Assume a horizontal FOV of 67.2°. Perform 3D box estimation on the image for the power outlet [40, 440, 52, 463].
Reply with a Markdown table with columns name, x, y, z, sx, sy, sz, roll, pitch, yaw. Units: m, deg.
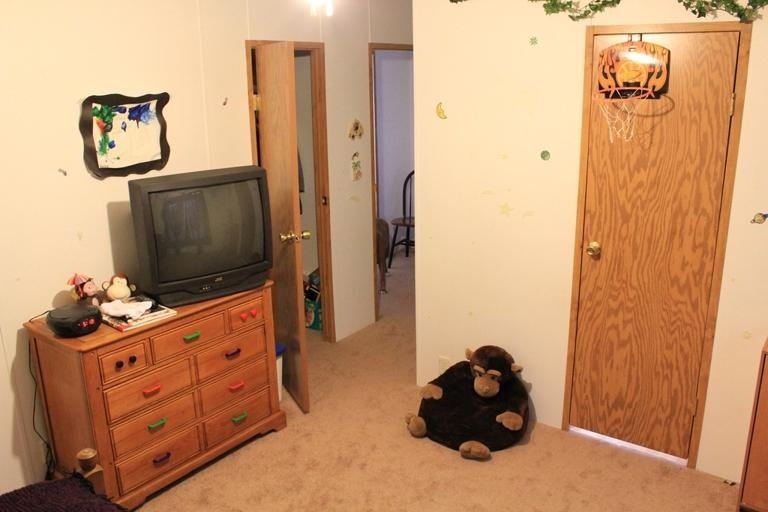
| name | x | y | z | sx | sy | sz | roll | pitch | yaw |
| --- | --- | --- | --- | --- | --- | --- | --- | --- | --- |
| power outlet | -2.125 | 1.218 | 3.617 | 0.059 | 0.216 | 0.052 | -2 | 35 | -25 |

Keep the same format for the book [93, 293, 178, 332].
| name | x | y | z | sx | sy | sz | roll | pitch | yaw |
| --- | --- | --- | --- | --- | --- | --- | --- | --- | --- |
| book | -1.466 | 0.370 | 3.496 | 0.234 | 0.027 | 0.253 | -18 | 34 | -40 |

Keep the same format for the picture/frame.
| name | x | y | z | sx | sy | sz | roll | pitch | yaw |
| --- | --- | --- | --- | --- | --- | --- | --- | --- | --- |
| picture/frame | -1.690 | -0.801 | 3.820 | 0.022 | 0.544 | 0.645 | 17 | 23 | 27 |

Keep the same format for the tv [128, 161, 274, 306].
| name | x | y | z | sx | sy | sz | roll | pitch | yaw |
| --- | --- | --- | --- | --- | --- | --- | --- | --- | --- |
| tv | -1.195 | -0.123 | 3.703 | 0.863 | 0.776 | 0.477 | -10 | 15 | -36 |
